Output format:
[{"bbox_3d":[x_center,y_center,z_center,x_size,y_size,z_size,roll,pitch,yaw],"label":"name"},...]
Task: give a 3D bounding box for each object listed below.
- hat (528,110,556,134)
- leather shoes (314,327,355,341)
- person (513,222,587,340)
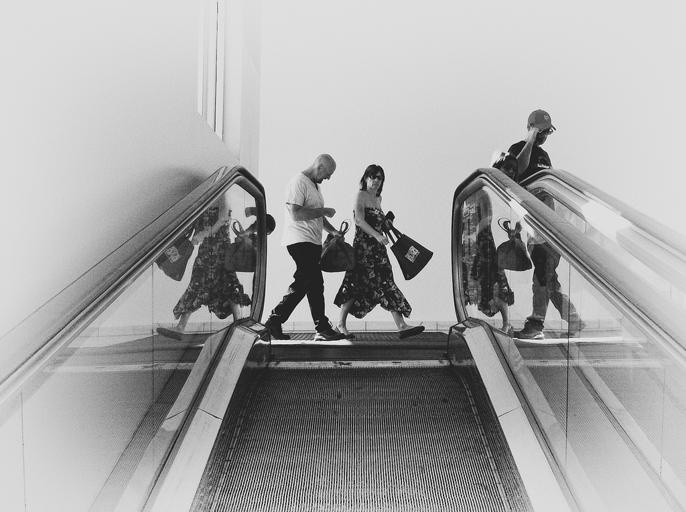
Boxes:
[{"bbox_3d":[2.434,-1.671,6.014,0.238,0.382,0.250,-4,-73,-22],"label":"hat"},{"bbox_3d":[-0.107,0.903,5.569,0.454,0.184,0.235,0,-93,-3],"label":"leather shoes"},{"bbox_3d":[0.981,0.166,2.514,0.357,0.827,0.284,3,-63,13],"label":"person"}]
